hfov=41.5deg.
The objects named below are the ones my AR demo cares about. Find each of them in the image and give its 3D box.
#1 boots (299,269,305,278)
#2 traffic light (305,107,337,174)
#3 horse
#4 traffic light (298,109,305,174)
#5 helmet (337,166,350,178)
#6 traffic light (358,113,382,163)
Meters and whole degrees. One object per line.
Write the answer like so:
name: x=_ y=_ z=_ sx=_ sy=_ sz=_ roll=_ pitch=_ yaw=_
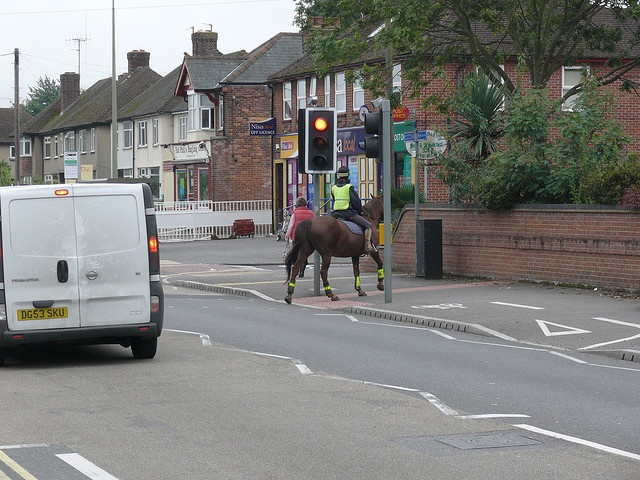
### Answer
boots: x=-0.506 y=0.971 z=23.822 sx=0.175 sy=0.257 sz=0.156 roll=3 pitch=1 yaw=-1
traffic light: x=0.017 y=-2.158 z=18.340 sx=0.712 sy=1.436 sz=0.376 roll=-2 pitch=3 yaw=-7
horse: x=0.571 y=0.189 z=19.262 sx=3.395 sy=2.426 sz=0.814 roll=-4 pitch=3 yaw=-44
traffic light: x=-0.386 y=-2.396 z=18.348 sx=0.085 sy=0.931 sz=0.186 roll=-14 pitch=22 yaw=-40
helmet: x=0.526 y=-1.513 z=18.844 sx=0.207 sy=0.248 sz=0.273 roll=2 pitch=15 yaw=7
traffic light: x=1.052 y=-2.127 z=17.289 sx=0.409 sy=1.035 sz=0.754 roll=-1 pitch=3 yaw=-1
